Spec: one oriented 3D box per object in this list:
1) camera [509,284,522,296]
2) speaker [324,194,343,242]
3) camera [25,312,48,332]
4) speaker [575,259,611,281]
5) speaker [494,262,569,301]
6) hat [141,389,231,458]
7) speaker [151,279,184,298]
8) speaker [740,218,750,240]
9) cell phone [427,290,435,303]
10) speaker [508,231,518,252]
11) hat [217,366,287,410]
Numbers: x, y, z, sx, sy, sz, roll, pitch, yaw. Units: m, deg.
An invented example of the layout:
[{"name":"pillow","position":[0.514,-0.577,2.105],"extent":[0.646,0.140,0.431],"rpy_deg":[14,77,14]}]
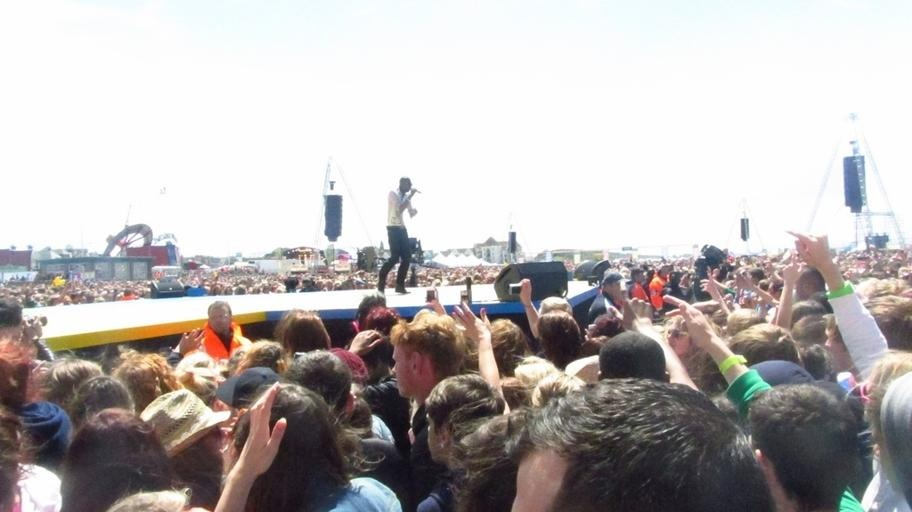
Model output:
[{"name":"camera","position":[0.866,0.491,9.600],"extent":[0.204,0.146,0.169],"rpy_deg":[1,-45,-17]},{"name":"speaker","position":[-2.931,-0.918,15.673],"extent":[0.365,1.113,1.036],"rpy_deg":[1,-3,-14]},{"name":"camera","position":[-4.274,0.714,6.642],"extent":[0.114,0.196,0.631],"rpy_deg":[2,-3,-26]},{"name":"speaker","position":[3.384,0.402,15.911],"extent":[0.846,0.295,0.603],"rpy_deg":[-10,6,-41]},{"name":"speaker","position":[1.060,0.337,9.952],"extent":[0.934,0.569,0.634],"rpy_deg":[0,8,-31]},{"name":"hat","position":[-2.128,1.273,5.078],"extent":[0.558,0.208,0.464],"rpy_deg":[-24,16,-10]},{"name":"speaker","position":[-6.640,0.727,14.906],"extent":[0.533,0.364,0.515],"rpy_deg":[0,14,-41]},{"name":"speaker","position":[13.041,-1.166,29.315],"extent":[0.319,1.051,1.891],"rpy_deg":[0,-3,20]},{"name":"cell phone","position":[-0.259,0.426,6.868],"extent":[0.112,0.136,0.131],"rpy_deg":[0,-8,-3]},{"name":"speaker","position":[2.571,-0.572,29.015],"extent":[0.258,0.884,1.168],"rpy_deg":[0,-3,10]},{"name":"hat","position":[-1.712,1.081,5.359],"extent":[0.495,0.264,0.350],"rpy_deg":[4,10,6]}]
